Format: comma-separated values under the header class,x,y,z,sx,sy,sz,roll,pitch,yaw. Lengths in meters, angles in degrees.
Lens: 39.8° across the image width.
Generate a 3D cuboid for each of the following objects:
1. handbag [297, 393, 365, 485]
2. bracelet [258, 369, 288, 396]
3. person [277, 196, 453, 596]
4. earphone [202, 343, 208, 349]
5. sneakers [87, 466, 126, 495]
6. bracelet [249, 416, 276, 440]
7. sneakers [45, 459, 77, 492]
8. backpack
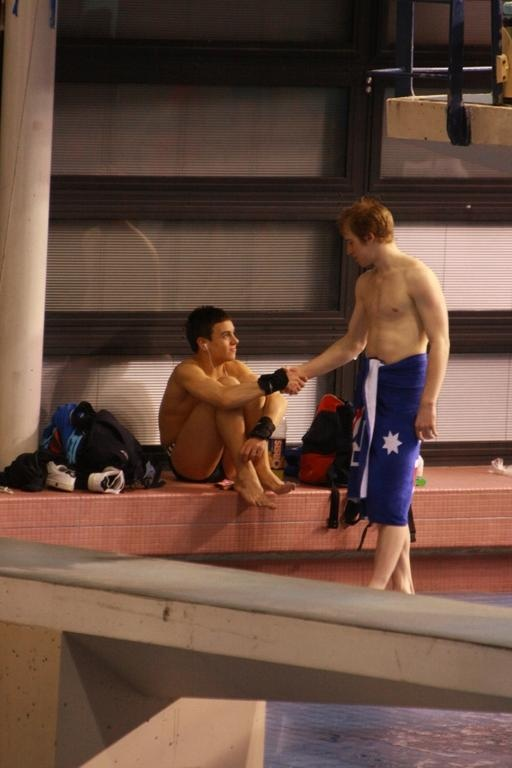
class,x,y,z,sx,sy,sz,roll,pitch,yaw
handbag,0.334,0.230,3.501,0.336,0.570,0.471,9,1,7
bracelet,0.078,-0.006,2.952,0.139,0.081,0.053,-25,-13,9
person,0.484,0.013,2.845,0.344,1.486,0.544,-1,2,-18
earphone,-0.225,-0.170,3.158,0.021,0.028,0.023,6,0,40
sneakers,-0.625,0.425,2.999,0.087,0.067,0.153,2,-6,-38
bracelet,0.032,0.185,3.019,0.086,0.046,0.110,15,44,36
sneakers,-0.832,0.396,3.011,0.196,0.078,0.071,17,8,43
backpack,-0.656,0.237,3.266,0.534,0.228,0.388,10,-3,-4
